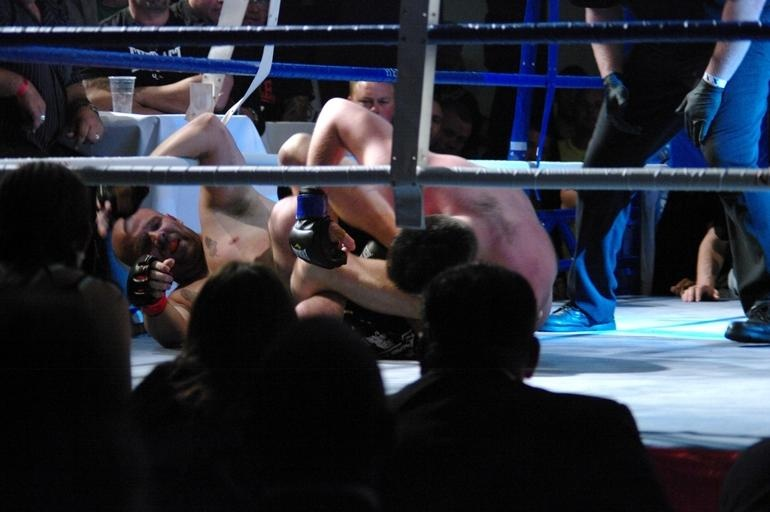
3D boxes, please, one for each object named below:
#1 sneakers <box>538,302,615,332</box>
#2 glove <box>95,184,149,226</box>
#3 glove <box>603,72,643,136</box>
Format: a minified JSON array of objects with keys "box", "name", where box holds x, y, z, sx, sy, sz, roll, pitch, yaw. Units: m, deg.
[{"box":[0.663,0.218,2.454,0.281,0.096,0.097,4,-12,-8],"name":"sneakers"},{"box":[-0.965,-0.181,2.622,0.225,0.161,0.164,-9,1,2],"name":"glove"},{"box":[0.773,-0.498,2.319,0.078,0.205,0.173,-7,14,29],"name":"glove"}]
